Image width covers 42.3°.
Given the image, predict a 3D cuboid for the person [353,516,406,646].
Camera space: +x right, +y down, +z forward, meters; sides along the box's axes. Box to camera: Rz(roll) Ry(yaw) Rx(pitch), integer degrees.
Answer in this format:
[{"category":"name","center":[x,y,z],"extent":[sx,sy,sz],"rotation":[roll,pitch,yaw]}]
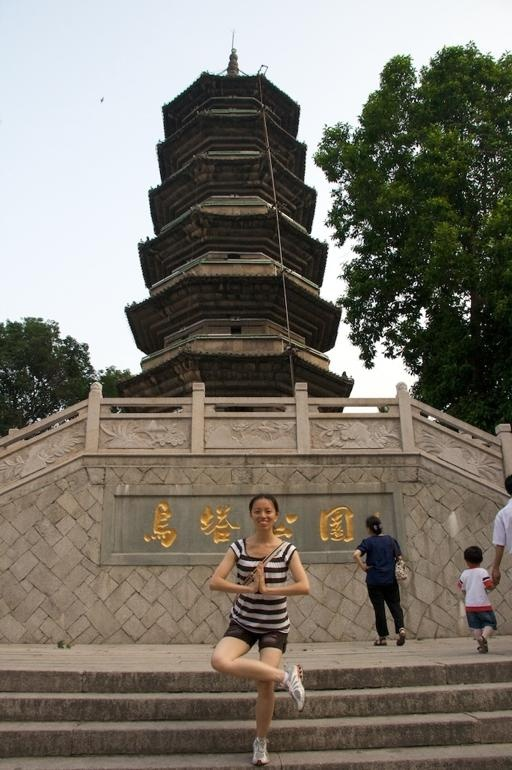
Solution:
[{"category":"person","center":[1.109,1.731,5.872],"extent":[0.390,1.152,0.659],"rotation":[-6,-16,11]}]

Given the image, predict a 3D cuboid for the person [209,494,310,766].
[{"category":"person","center":[0.019,1.120,3.091],"extent":[0.455,1.215,0.533],"rotation":[-3,-16,-1]}]

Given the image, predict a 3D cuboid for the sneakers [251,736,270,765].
[{"category":"sneakers","center":[0.021,1.646,2.997],"extent":[0.060,0.074,0.172],"rotation":[1,-41,0]}]
